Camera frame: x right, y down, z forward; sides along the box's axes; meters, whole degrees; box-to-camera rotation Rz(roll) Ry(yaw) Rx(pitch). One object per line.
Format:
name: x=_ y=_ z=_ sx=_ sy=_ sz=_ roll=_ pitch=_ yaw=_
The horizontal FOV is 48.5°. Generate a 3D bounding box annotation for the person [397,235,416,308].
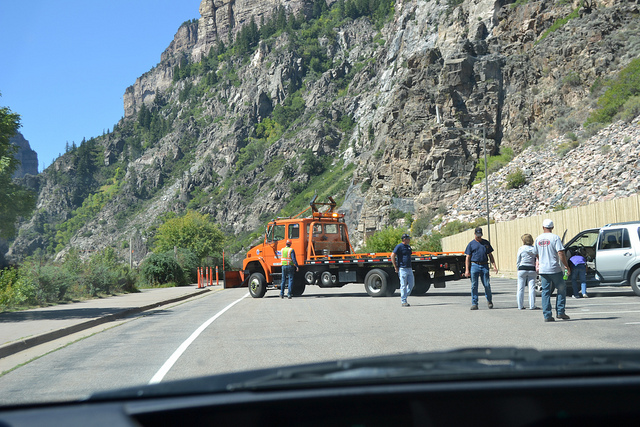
person: x=3.495 y=2.378 z=29.271 sx=0.564 sy=2.960 sz=0.869 roll=-6 pitch=-7 yaw=20

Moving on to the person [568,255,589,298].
person: x=10.894 y=2.687 z=29.968 sx=0.711 sy=1.749 sz=1.200 roll=-6 pitch=-7 yaw=21

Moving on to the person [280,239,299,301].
person: x=-1.548 y=2.903 z=34.417 sx=0.787 sy=2.516 sz=1.064 roll=-2 pitch=-7 yaw=-11

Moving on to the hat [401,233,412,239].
hat: x=3.549 y=0.980 z=29.561 sx=0.318 sy=0.267 sz=0.534 roll=2 pitch=-4 yaw=-13

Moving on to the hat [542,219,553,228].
hat: x=8.102 y=0.378 z=25.288 sx=0.246 sy=0.218 sz=0.366 roll=4 pitch=8 yaw=18
